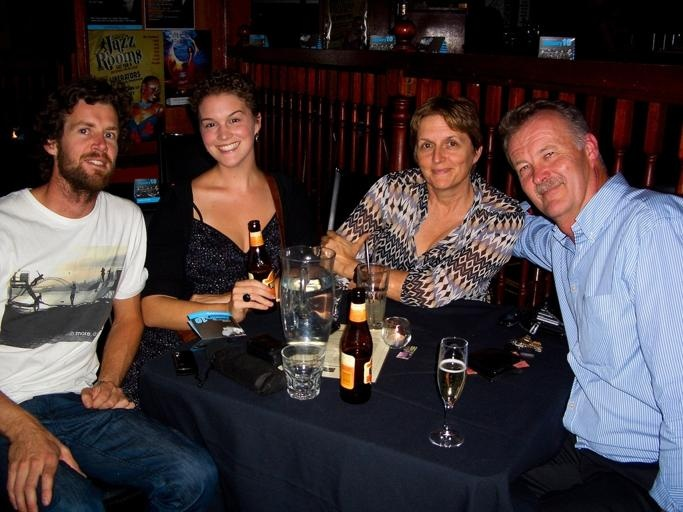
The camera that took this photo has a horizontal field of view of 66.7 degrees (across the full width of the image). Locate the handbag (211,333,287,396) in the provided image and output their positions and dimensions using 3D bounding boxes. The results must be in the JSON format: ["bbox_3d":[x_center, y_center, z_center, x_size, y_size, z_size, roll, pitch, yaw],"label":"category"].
[{"bbox_3d":[-0.282,0.345,1.703,0.184,0.051,0.178,17,16,17],"label":"handbag"}]
